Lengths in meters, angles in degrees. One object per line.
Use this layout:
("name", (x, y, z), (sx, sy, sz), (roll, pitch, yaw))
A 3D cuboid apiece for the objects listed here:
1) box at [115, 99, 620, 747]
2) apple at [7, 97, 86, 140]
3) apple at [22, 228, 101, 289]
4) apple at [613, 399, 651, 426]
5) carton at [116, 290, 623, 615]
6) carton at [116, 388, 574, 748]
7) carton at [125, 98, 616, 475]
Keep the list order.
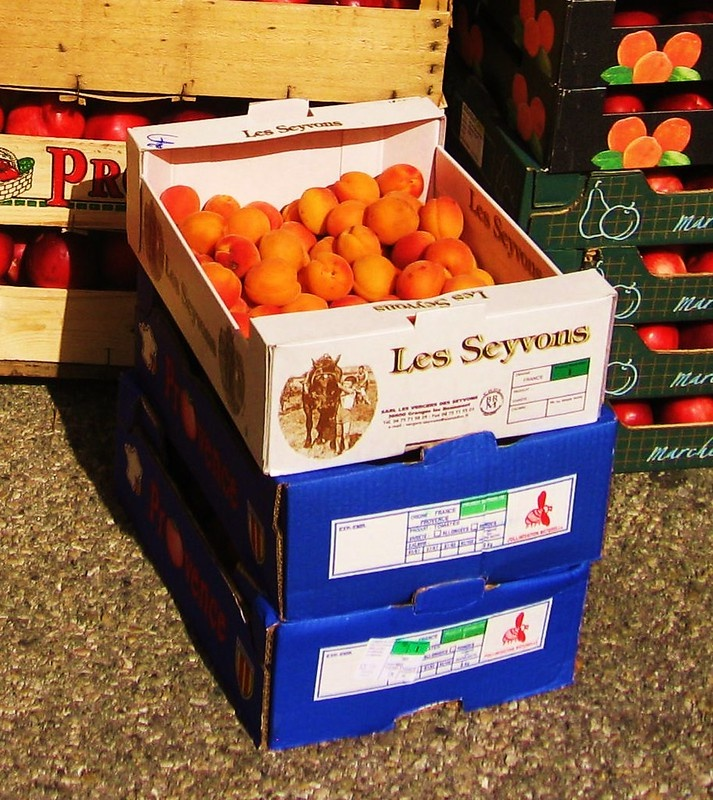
("box", (0.054, 0.044, 1.655), (0.657, 0.710, 0.810), (-6, 24, -6))
("apple", (-0.869, -0.775, 2.252), (0.181, 0.131, 0.170), (-2, 17, -16))
("apple", (-0.947, -0.416, 2.412), (0.167, 0.148, 0.163), (-5, 10, 18))
("apple", (0.794, 0.034, 2.314), (0.073, 0.067, 0.067), (2, 7, -3))
("carton", (-0.005, 0.076, 1.648), (0.754, 0.288, 0.767), (2, 23, -25))
("carton", (-0.024, 0.288, 1.902), (0.859, 0.351, 0.825), (2, 28, -41))
("carton", (-0.014, -0.269, 1.505), (0.643, 0.276, 0.821), (-14, 43, -23))
